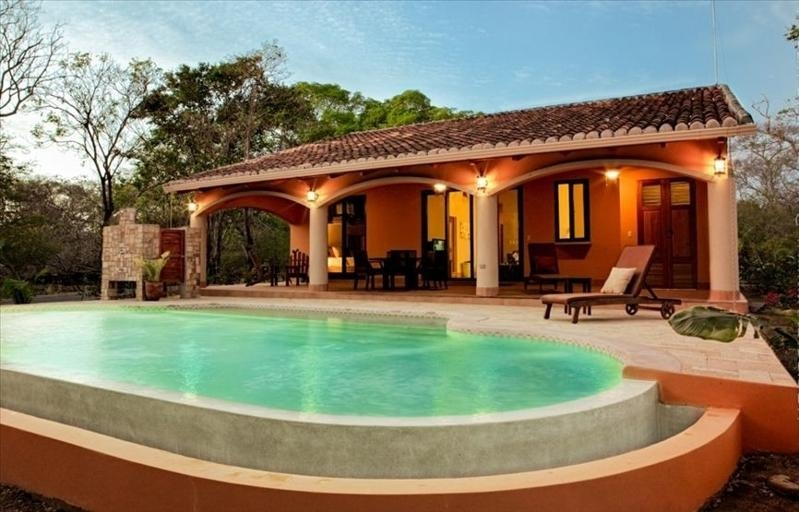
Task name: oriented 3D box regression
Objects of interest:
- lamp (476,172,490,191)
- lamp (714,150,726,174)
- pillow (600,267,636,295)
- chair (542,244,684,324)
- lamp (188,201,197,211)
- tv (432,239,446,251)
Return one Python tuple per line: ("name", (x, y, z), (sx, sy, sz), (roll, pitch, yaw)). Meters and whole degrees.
("lamp", (2.040, -1.810, 13.872), (0.281, 0.480, 0.197), (5, 13, 40))
("lamp", (6.733, -1.942, 11.786), (0.213, 0.488, 0.175), (-5, 10, -5))
("pillow", (4.296, 0.494, 11.049), (0.176, 0.546, 0.576), (34, -5, -27))
("chair", (4.232, 0.529, 11.341), (3.150, 1.411, 1.364), (2, -5, -18))
("lamp", (-6.419, -1.520, 17.268), (0.332, 0.294, 0.186), (2, 11, 32))
("tv", (1.260, -0.360, 17.939), (0.345, 0.473, 0.610), (-4, -4, 38))
